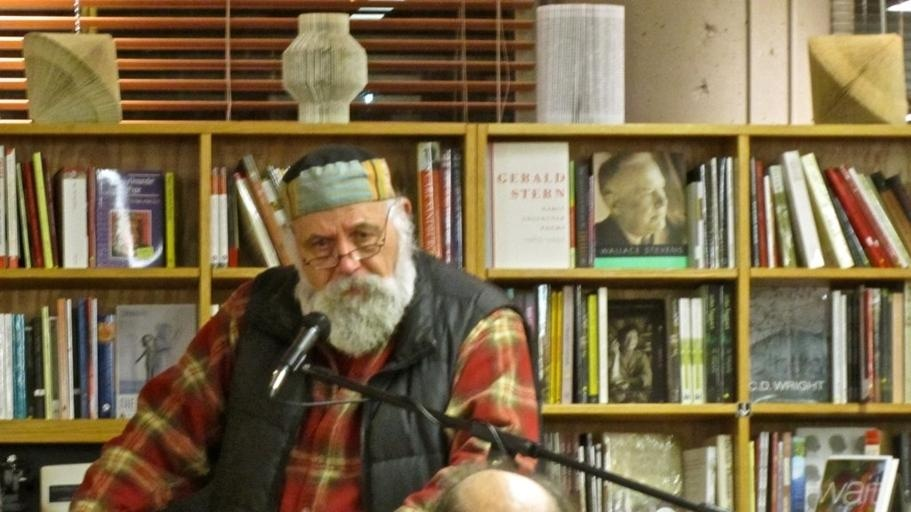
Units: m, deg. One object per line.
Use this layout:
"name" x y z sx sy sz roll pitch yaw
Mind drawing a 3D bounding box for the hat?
"hat" -0.482 -0.312 6.076 0.506 0.274 0.432 -13 4 -35

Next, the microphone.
"microphone" -0.562 0.344 5.489 0.140 0.410 0.125 26 -21 9
